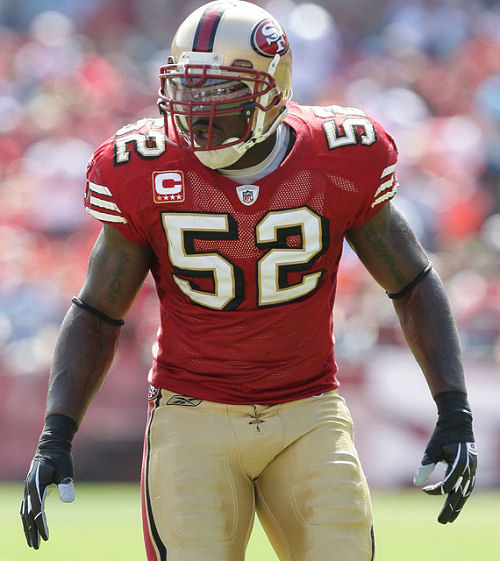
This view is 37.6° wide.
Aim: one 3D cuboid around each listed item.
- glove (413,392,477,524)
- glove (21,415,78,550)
[{"bbox_3d":[0.456,0.426,1.722,0.136,0.330,0.241,-1,-4,13],"label":"glove"},{"bbox_3d":[-0.437,0.443,1.596,0.114,0.285,0.194,1,-4,-12],"label":"glove"}]
